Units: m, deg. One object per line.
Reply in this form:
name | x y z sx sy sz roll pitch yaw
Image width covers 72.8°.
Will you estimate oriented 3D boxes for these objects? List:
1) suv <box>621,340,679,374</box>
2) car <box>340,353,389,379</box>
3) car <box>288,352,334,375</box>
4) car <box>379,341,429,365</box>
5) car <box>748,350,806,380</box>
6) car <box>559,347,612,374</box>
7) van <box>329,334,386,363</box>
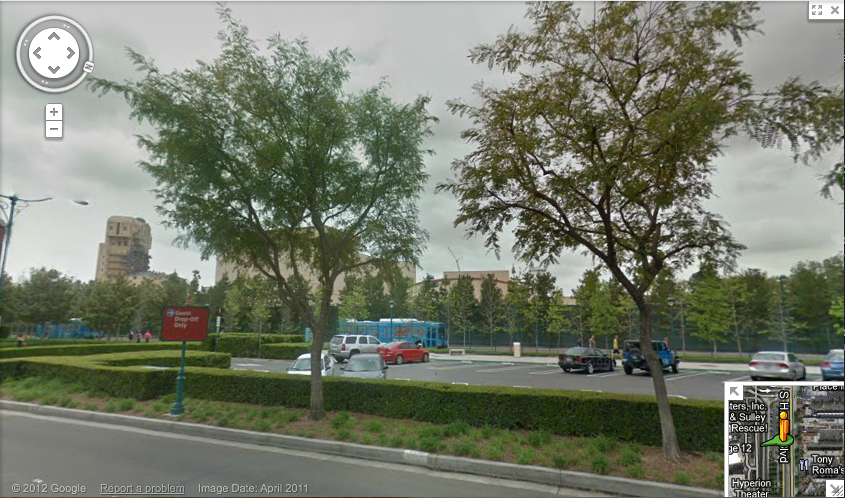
suv | 15.303 7.338 38.510 5.646 2.275 3.526 11 -15 -38
car | -3.022 6.067 30.044 2.220 1.204 1.902 10 -14 -34
car | -5.876 5.866 30.012 1.560 1.011 3.121 -3 -15 2
car | -1.626 8.291 45.670 4.220 1.346 1.866 4 -8 -40
car | 21.394 6.890 34.225 1.629 1.136 3.665 -6 -9 41
car | 10.985 7.490 38.609 3.690 1.712 1.562 9 -14 -32
van | -4.998 7.617 44.423 3.875 1.555 1.947 -1 -3 -30
